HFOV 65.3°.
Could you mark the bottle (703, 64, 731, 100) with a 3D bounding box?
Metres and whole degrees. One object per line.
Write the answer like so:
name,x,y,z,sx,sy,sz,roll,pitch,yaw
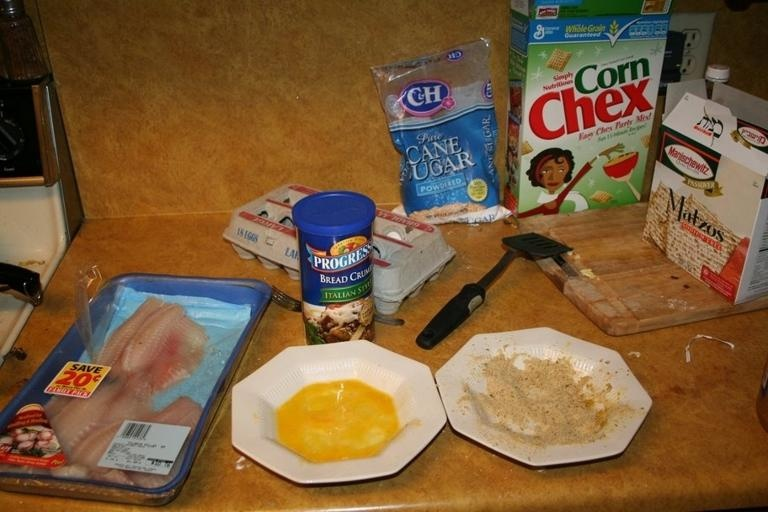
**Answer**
bottle,0.719,-0.386,1.303,0.041,0.063,0.107,10,41,19
